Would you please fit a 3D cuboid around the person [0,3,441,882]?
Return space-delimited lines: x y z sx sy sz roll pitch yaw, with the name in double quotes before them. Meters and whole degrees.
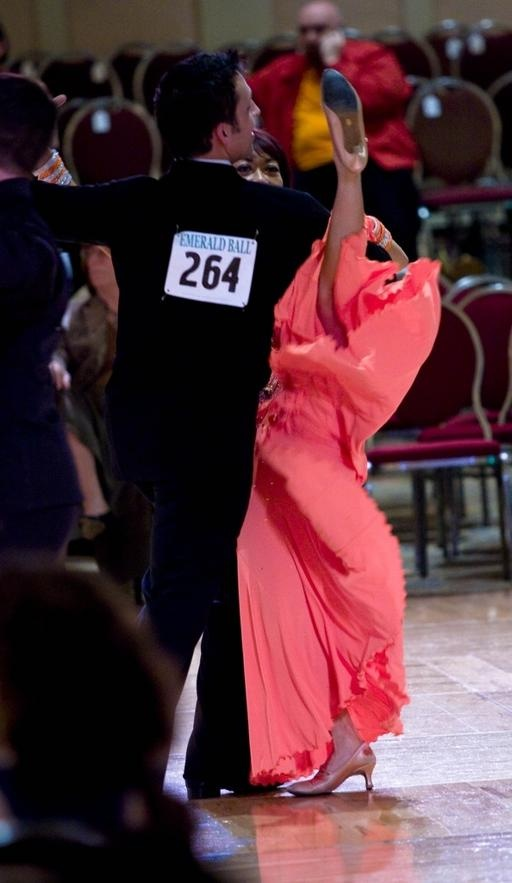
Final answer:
"person" -0.062 0.021 1.667 0.699 1.255 0.534 -5 -2 7

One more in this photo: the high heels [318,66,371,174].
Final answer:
"high heels" 0.169 -0.608 1.537 0.068 0.177 0.069 -6 24 14

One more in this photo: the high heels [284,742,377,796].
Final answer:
"high heels" 0.179 0.744 1.878 0.247 0.125 0.083 -8 -4 1
